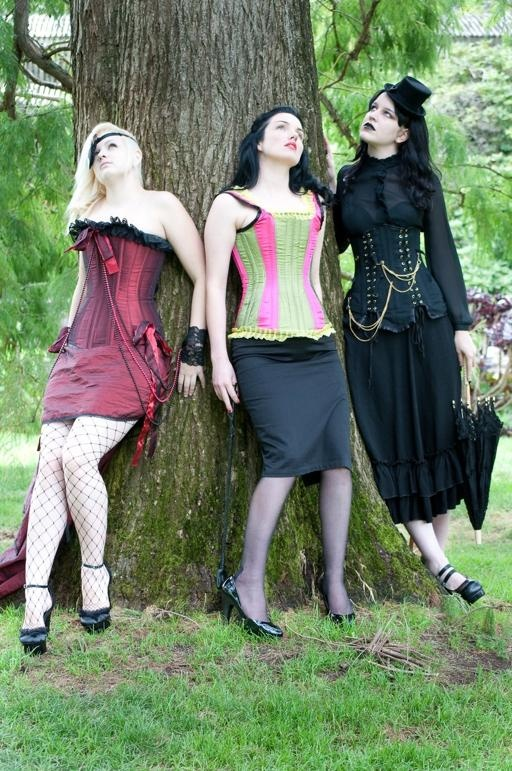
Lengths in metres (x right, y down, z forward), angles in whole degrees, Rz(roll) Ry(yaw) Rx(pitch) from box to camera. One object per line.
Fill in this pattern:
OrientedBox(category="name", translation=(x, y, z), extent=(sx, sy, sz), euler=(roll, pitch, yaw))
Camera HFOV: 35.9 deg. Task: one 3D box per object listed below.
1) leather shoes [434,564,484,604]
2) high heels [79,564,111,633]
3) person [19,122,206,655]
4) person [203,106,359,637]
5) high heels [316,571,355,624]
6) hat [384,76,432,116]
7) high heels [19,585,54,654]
OrientedBox(category="leather shoes", translation=(0.706, 0.696, 2.782), extent=(0.078, 0.078, 0.198), euler=(24, 5, -15))
OrientedBox(category="high heels", translation=(-0.501, 0.650, 2.457), extent=(0.083, 0.213, 0.083), euler=(-1, -7, -3))
OrientedBox(category="person", translation=(-0.444, -0.057, 2.528), extent=(0.552, 1.609, 0.641), euler=(1, 6, -4))
OrientedBox(category="person", translation=(0.071, -0.080, 2.545), extent=(0.466, 1.645, 0.476), euler=(0, 6, -13))
OrientedBox(category="high heels", translation=(0.253, 0.700, 2.575), extent=(0.062, 0.184, 0.049), euler=(-15, -39, 5))
OrientedBox(category="hat", translation=(0.537, -1.029, 2.840), extent=(0.161, 0.141, 0.177), euler=(3, 6, 8))
OrientedBox(category="high heels", translation=(-0.657, 0.689, 2.349), extent=(0.086, 0.165, 0.178), euler=(0, 6, -16))
